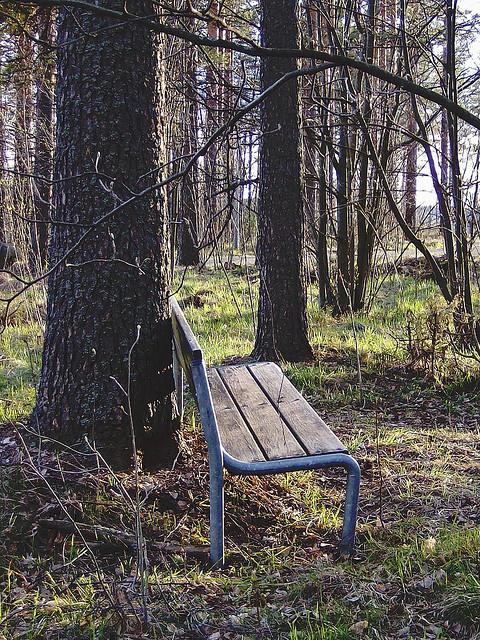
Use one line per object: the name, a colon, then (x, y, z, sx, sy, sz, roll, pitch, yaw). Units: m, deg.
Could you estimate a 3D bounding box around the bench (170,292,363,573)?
bench: (0.095, 0.406, 3.502, 0.744, 0.974, 1.193, -3, 12, -11)
